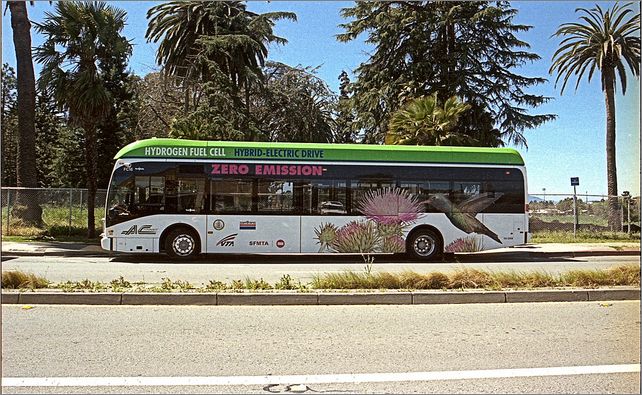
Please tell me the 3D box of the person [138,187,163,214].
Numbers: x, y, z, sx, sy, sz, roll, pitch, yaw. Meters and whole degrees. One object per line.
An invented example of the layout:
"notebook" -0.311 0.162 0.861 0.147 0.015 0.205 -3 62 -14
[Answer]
"person" -7.112 0.154 25.192 0.975 1.066 0.297 0 5 -9
